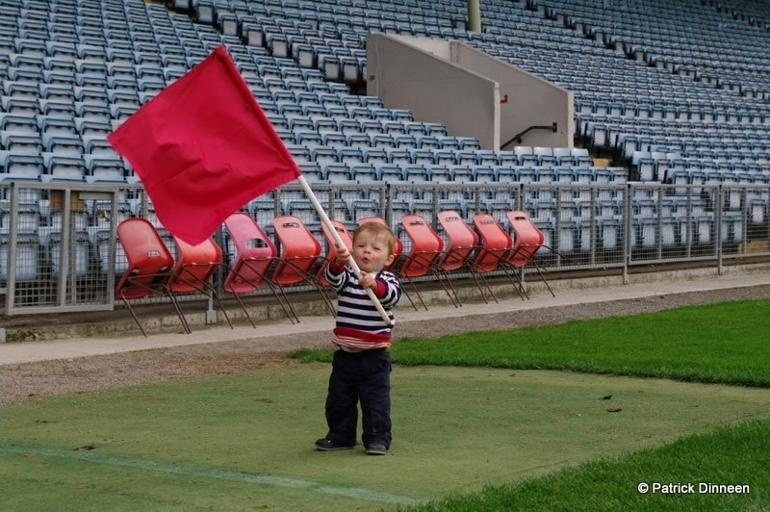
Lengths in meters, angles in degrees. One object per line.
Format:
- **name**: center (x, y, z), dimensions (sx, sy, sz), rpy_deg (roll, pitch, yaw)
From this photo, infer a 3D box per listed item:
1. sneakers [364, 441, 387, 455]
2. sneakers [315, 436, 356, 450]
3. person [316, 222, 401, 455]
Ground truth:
- **sneakers**: center (-0.084, 1.758, 9.315), dimensions (0.199, 0.093, 0.079), rpy_deg (2, -11, 9)
- **sneakers**: center (-0.473, 1.754, 9.522), dimensions (0.361, 0.148, 0.127), rpy_deg (12, -6, -21)
- **person**: center (-0.247, 0.743, 9.461), dimensions (0.789, 2.079, 0.770), rpy_deg (-1, 12, 1)
